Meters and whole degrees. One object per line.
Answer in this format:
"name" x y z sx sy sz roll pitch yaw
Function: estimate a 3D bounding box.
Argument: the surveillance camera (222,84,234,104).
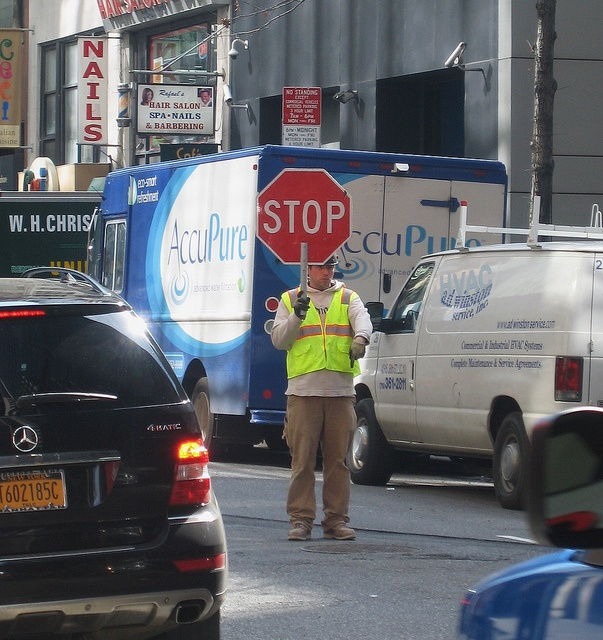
"surveillance camera" -1.344 -4.120 25.547 0.175 0.395 0.650 1 5 -4

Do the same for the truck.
"truck" -0.594 -0.303 14.678 2.240 2.816 4.563 1 2 -33

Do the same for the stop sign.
"stop sign" -0.004 -0.792 10.638 0.772 1.068 0.123 1 -8 4

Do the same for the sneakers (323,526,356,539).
"sneakers" 0.241 1.336 8.733 0.202 0.112 0.079 -11 -10 40

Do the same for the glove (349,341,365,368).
"glove" 0.344 0.216 8.596 0.079 0.124 0.055 11 -23 42

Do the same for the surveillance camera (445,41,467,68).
"surveillance camera" 2.220 -3.810 20.089 0.251 0.391 0.406 -1 5 -24

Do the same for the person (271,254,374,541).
"person" 0.119 0.509 8.821 0.611 1.713 0.550 1 4 -4
